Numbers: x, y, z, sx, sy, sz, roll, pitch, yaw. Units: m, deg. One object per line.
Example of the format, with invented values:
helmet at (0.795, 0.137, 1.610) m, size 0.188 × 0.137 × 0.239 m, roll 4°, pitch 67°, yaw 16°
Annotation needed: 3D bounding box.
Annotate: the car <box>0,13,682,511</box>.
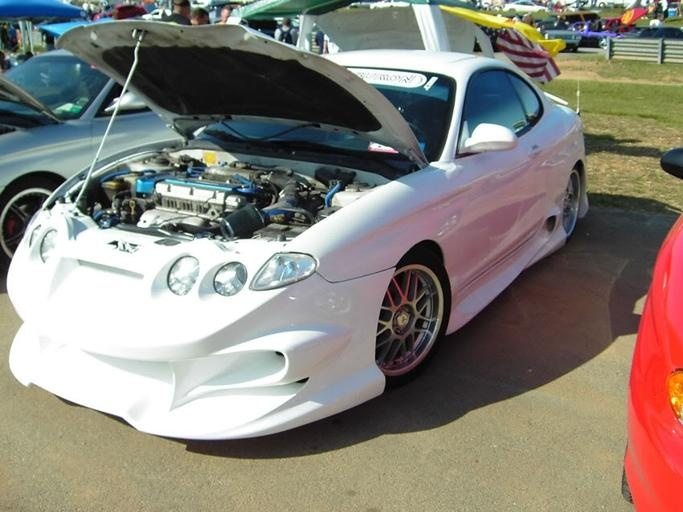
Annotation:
car at (0.496, -0.296, 4.069) m, size 2.597 × 1.761 × 4.882 m, roll 9°, pitch 18°, yaw 36°
